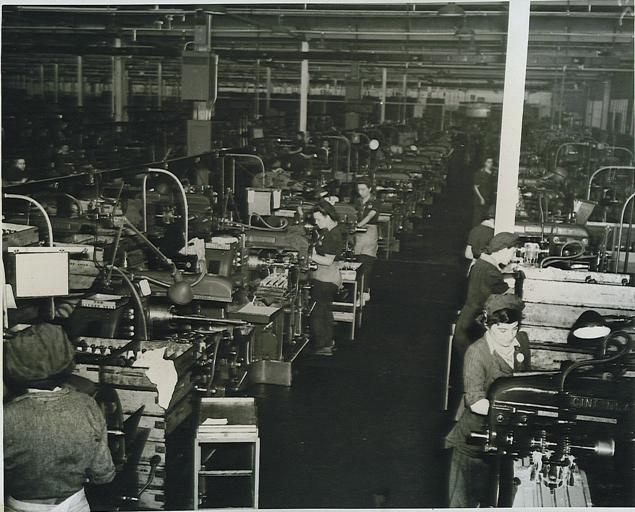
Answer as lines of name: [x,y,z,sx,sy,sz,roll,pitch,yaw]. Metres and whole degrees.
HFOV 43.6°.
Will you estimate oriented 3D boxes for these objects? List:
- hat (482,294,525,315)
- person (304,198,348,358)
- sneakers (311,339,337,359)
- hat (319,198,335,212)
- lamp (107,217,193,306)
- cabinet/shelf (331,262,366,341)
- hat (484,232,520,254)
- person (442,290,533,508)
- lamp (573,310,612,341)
hat: [1.484,0.380,6.271,0.232,0.126,0.163,0,15,2]
person: [0.096,0.211,8.359,0.340,1.532,0.694,3,8,2]
sneakers: [0.079,0.962,8.204,0.231,0.105,0.248,3,8,0]
hat: [0.112,-0.497,8.413,0.172,0.177,0.137,-1,51,10]
lamp: [-1.533,0.038,7.130,0.648,0.759,0.977,-2,9,-29]
cabinet/shelf: [0.352,0.512,8.774,0.381,0.552,0.671,2,25,6]
hat: [1.483,-0.100,6.375,0.237,0.196,0.067,5,8,13]
person: [1.315,1.164,6.315,0.538,1.725,0.269,5,8,13]
lamp: [2.134,0.539,6.162,0.215,0.225,0.082,4,1,6]
